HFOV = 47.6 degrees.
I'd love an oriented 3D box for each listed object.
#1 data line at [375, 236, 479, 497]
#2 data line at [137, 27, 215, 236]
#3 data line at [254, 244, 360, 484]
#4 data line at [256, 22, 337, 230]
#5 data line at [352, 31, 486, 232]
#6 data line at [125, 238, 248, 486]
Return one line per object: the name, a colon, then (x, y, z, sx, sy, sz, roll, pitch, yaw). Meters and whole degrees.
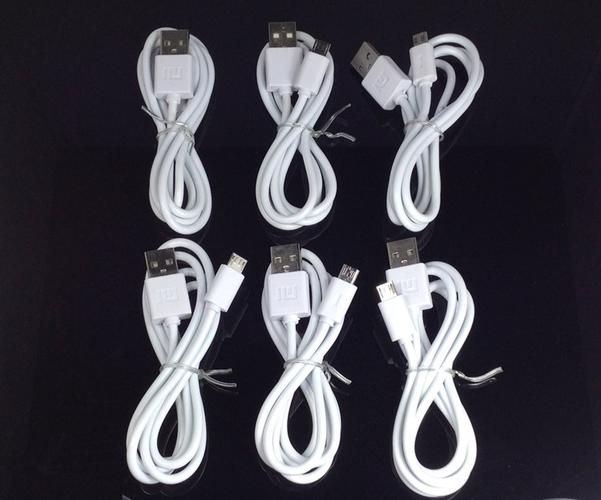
data line: (0.272, 0.253, 1.511, 0.189, 0.545, 0.075, 6, -22, -6)
data line: (-0.297, -0.310, 1.669, 0.147, 0.569, 0.077, -1, -20, -8)
data line: (0.003, 0.220, 1.529, 0.178, 0.564, 0.091, 2, -19, -5)
data line: (-0.016, -0.308, 1.611, 0.162, 0.549, 0.100, -1, -14, -5)
data line: (0.262, -0.294, 1.634, 0.341, 0.625, 0.102, 22, -41, -8)
data line: (-0.256, 0.264, 1.510, 0.192, 0.606, 0.097, -1, -17, 7)
